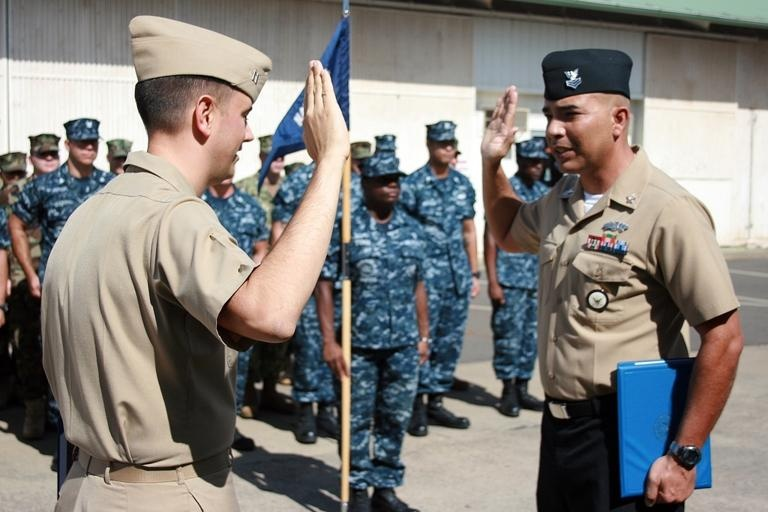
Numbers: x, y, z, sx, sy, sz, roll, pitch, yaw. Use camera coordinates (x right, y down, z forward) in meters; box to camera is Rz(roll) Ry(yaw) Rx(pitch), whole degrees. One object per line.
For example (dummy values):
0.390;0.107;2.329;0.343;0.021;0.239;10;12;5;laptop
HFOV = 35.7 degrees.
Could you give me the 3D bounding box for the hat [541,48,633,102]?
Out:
1.534;-1.341;8.831;0.507;0.276;0.420;-4;1;-33;hat
